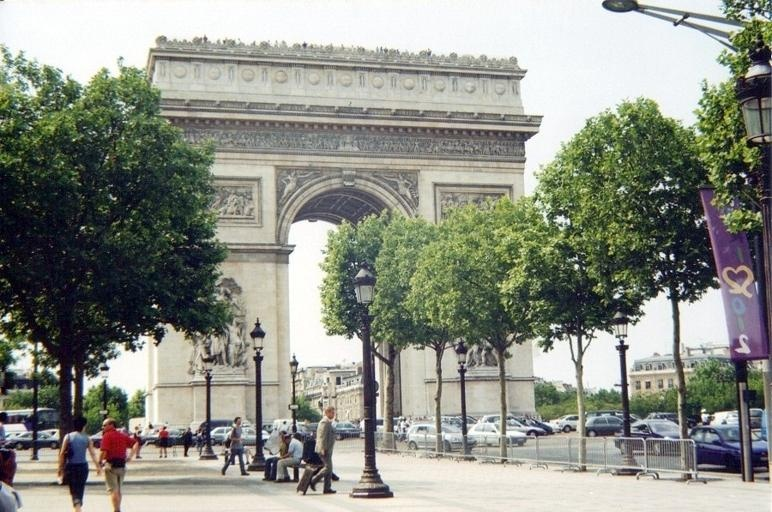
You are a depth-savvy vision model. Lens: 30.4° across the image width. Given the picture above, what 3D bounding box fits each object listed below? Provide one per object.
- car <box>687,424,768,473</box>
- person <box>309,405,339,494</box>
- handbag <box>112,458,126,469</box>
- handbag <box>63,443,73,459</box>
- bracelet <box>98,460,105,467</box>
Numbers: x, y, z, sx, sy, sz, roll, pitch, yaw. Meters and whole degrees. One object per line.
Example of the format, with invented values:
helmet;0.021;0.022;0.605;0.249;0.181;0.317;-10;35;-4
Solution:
car;15.387;8.631;64.164;3.447;2.185;1.554;-10;-13;35
person;-2.454;7.694;56.856;1.179;3.353;1.184;1;1;-2
handbag;-9.826;7.571;52.272;0.316;0.364;0.493;0;-1;-7
handbag;-11.648;7.105;52.170;0.332;0.574;0.602;0;-10;-8
bracelet;-10.454;7.617;52.332;0.215;0.252;0.218;1;-3;-15
